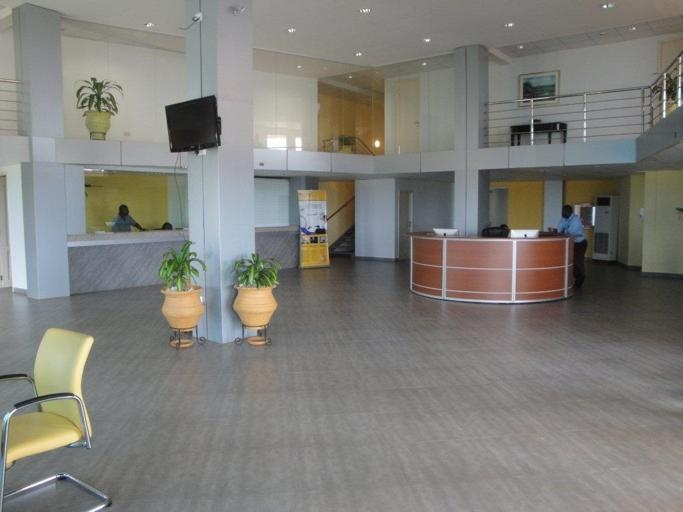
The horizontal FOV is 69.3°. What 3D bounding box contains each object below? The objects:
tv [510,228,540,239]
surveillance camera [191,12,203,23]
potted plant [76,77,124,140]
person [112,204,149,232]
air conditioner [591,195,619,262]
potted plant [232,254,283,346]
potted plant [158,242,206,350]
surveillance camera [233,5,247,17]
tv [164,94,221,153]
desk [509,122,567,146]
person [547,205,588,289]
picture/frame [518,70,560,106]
[{"bbox_3d":[3.634,-0.444,9.787,0.824,0.140,0.413,-6,12,-33],"label":"tv"},{"bbox_3d":[-2.096,-3.445,7.172,0.171,0.172,0.126,-2,8,-40],"label":"surveillance camera"},{"bbox_3d":[-5.609,-3.339,11.361,1.025,1.254,1.056,2,4,28],"label":"potted plant"},{"bbox_3d":[-5.249,-0.994,12.097,0.524,0.754,0.903,7,17,23],"label":"person"},{"bbox_3d":[8.787,-0.938,16.389,0.529,2.094,0.895,-2,10,-9],"label":"air conditioner"},{"bbox_3d":[-1.265,0.619,7.310,0.701,1.302,0.654,-2,10,-13],"label":"potted plant"},{"bbox_3d":[-2.337,0.533,7.342,0.646,1.489,0.939,-3,11,-20],"label":"potted plant"},{"bbox_3d":[-1.459,-3.520,7.104,0.212,0.147,0.077,-7,23,-40],"label":"surveillance camera"},{"bbox_3d":[-2.199,-1.887,7.328,0.097,0.661,0.895,16,27,37],"label":"tv"},{"bbox_3d":[5.403,-3.411,13.621,1.457,0.595,1.375,4,11,20],"label":"desk"},{"bbox_3d":[5.267,-0.214,11.289,0.709,1.882,0.564,1,10,7],"label":"person"},{"bbox_3d":[5.776,-4.933,14.539,1.187,0.942,0.063,-1,4,10],"label":"picture/frame"}]
